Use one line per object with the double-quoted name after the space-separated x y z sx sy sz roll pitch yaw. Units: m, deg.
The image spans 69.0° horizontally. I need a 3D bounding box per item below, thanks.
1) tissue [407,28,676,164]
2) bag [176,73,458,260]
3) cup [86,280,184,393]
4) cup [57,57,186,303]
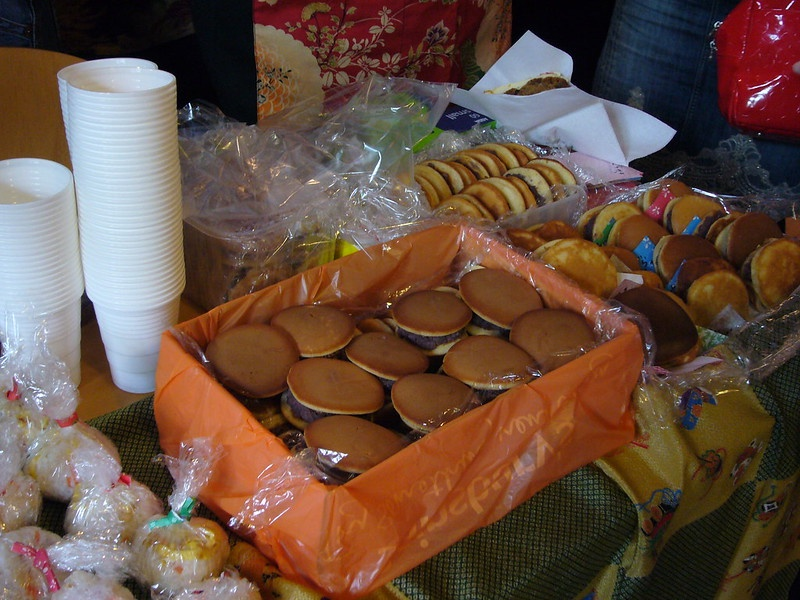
0.468 -0.562 1.766 0.604 0.209 0.515 18 35 30 "tissue"
-0.169 -0.283 1.197 0.384 0.165 0.481 32 45 29 "bag"
-0.428 0.082 0.943 0.100 0.123 0.104 4 6 0 "cup"
-0.393 -0.160 0.844 0.161 0.304 0.200 -8 45 -20 "cup"
